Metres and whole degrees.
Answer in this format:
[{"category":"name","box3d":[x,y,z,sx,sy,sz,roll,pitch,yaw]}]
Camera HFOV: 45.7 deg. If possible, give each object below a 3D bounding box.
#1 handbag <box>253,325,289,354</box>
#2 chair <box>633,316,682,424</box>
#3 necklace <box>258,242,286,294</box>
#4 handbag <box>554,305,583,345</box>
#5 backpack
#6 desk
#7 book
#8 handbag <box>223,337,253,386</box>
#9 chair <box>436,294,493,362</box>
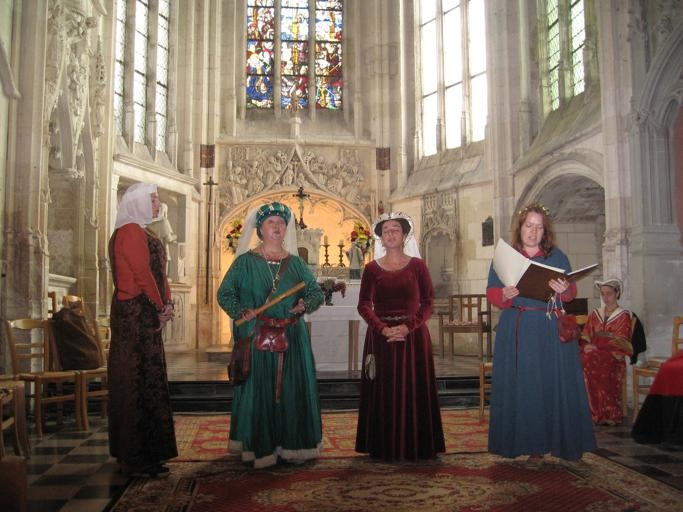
[{"category":"handbag","box3d":[-0.634,0.760,7.402,0.280,0.244,0.213,0,-10,-5]},{"category":"chair","box3d":[3.572,1.251,9.164,0.593,1.125,1.867,-3,-6,19]},{"category":"necklace","box3d":[-0.625,0.104,7.616,0.264,0.369,0.124,-16,-45,-1]},{"category":"handbag","box3d":[2.057,0.622,7.378,0.201,0.323,0.186,-2,-5,3]},{"category":"backpack","box3d":[-2.986,1.040,9.225,0.419,0.854,0.636,-17,-13,-2]},{"category":"desk","box3d":[-0.097,1.234,11.615,0.772,1.086,1.081,-1,1,3]},{"category":"book","box3d":[1.884,0.233,7.263,0.654,0.337,0.356,-2,-5,2]},{"category":"handbag","box3d":[-0.922,0.951,7.364,0.207,0.427,0.130,-1,-5,-4]},{"category":"chair","box3d":[1.997,1.102,13.236,0.690,1.009,0.686,0,-5,17]}]
